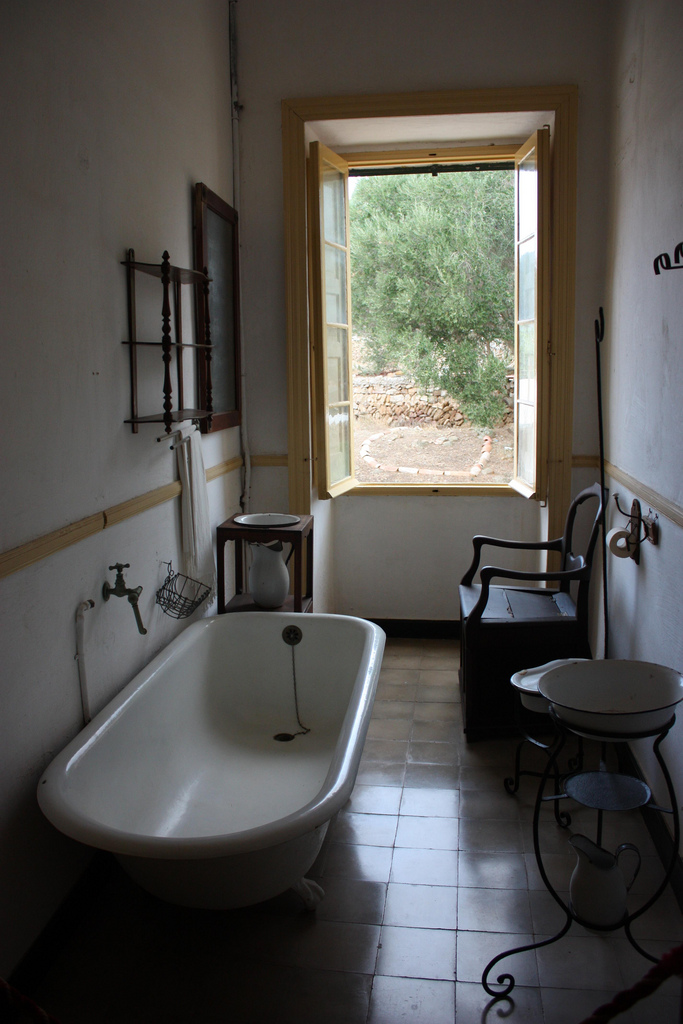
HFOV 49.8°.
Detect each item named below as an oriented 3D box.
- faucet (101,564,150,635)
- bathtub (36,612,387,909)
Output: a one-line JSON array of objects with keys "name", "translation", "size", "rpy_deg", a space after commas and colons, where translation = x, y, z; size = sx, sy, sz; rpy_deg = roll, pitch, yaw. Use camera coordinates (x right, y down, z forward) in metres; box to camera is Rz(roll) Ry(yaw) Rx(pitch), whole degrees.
[{"name": "faucet", "translation": [-0.591, 0.241, 2.049], "size": [0.100, 0.230, 0.293], "rpy_deg": [-1, 5, -8]}, {"name": "bathtub", "translation": [-0.263, 0.620, 2.027], "size": [0.659, 0.380, 1.420], "rpy_deg": [1, 5, 7]}]
